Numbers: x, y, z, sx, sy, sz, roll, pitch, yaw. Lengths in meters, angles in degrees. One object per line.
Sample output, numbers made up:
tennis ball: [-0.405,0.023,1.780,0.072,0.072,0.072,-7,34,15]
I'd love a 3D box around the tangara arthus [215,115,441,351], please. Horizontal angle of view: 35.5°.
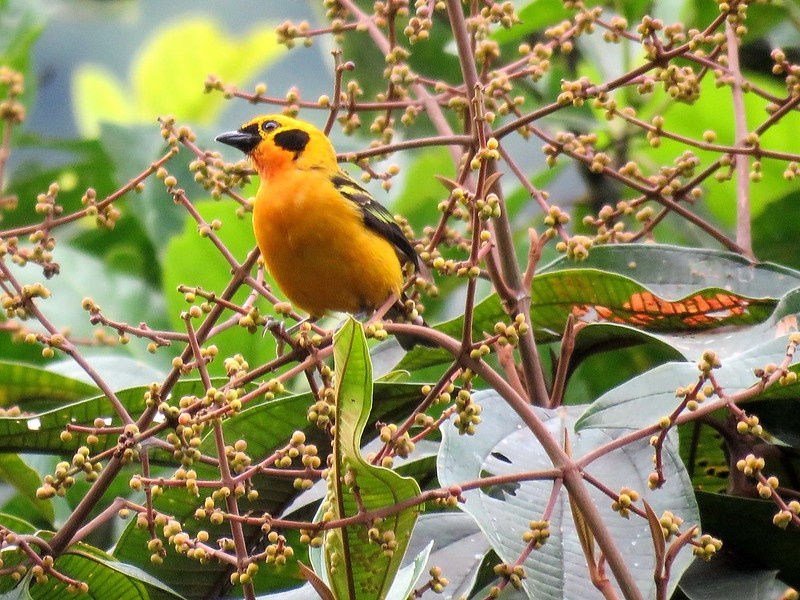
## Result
tangara arthus: [-0.252,-0.310,5.226,1.016,0.940,0.499,2,-19,-36]
